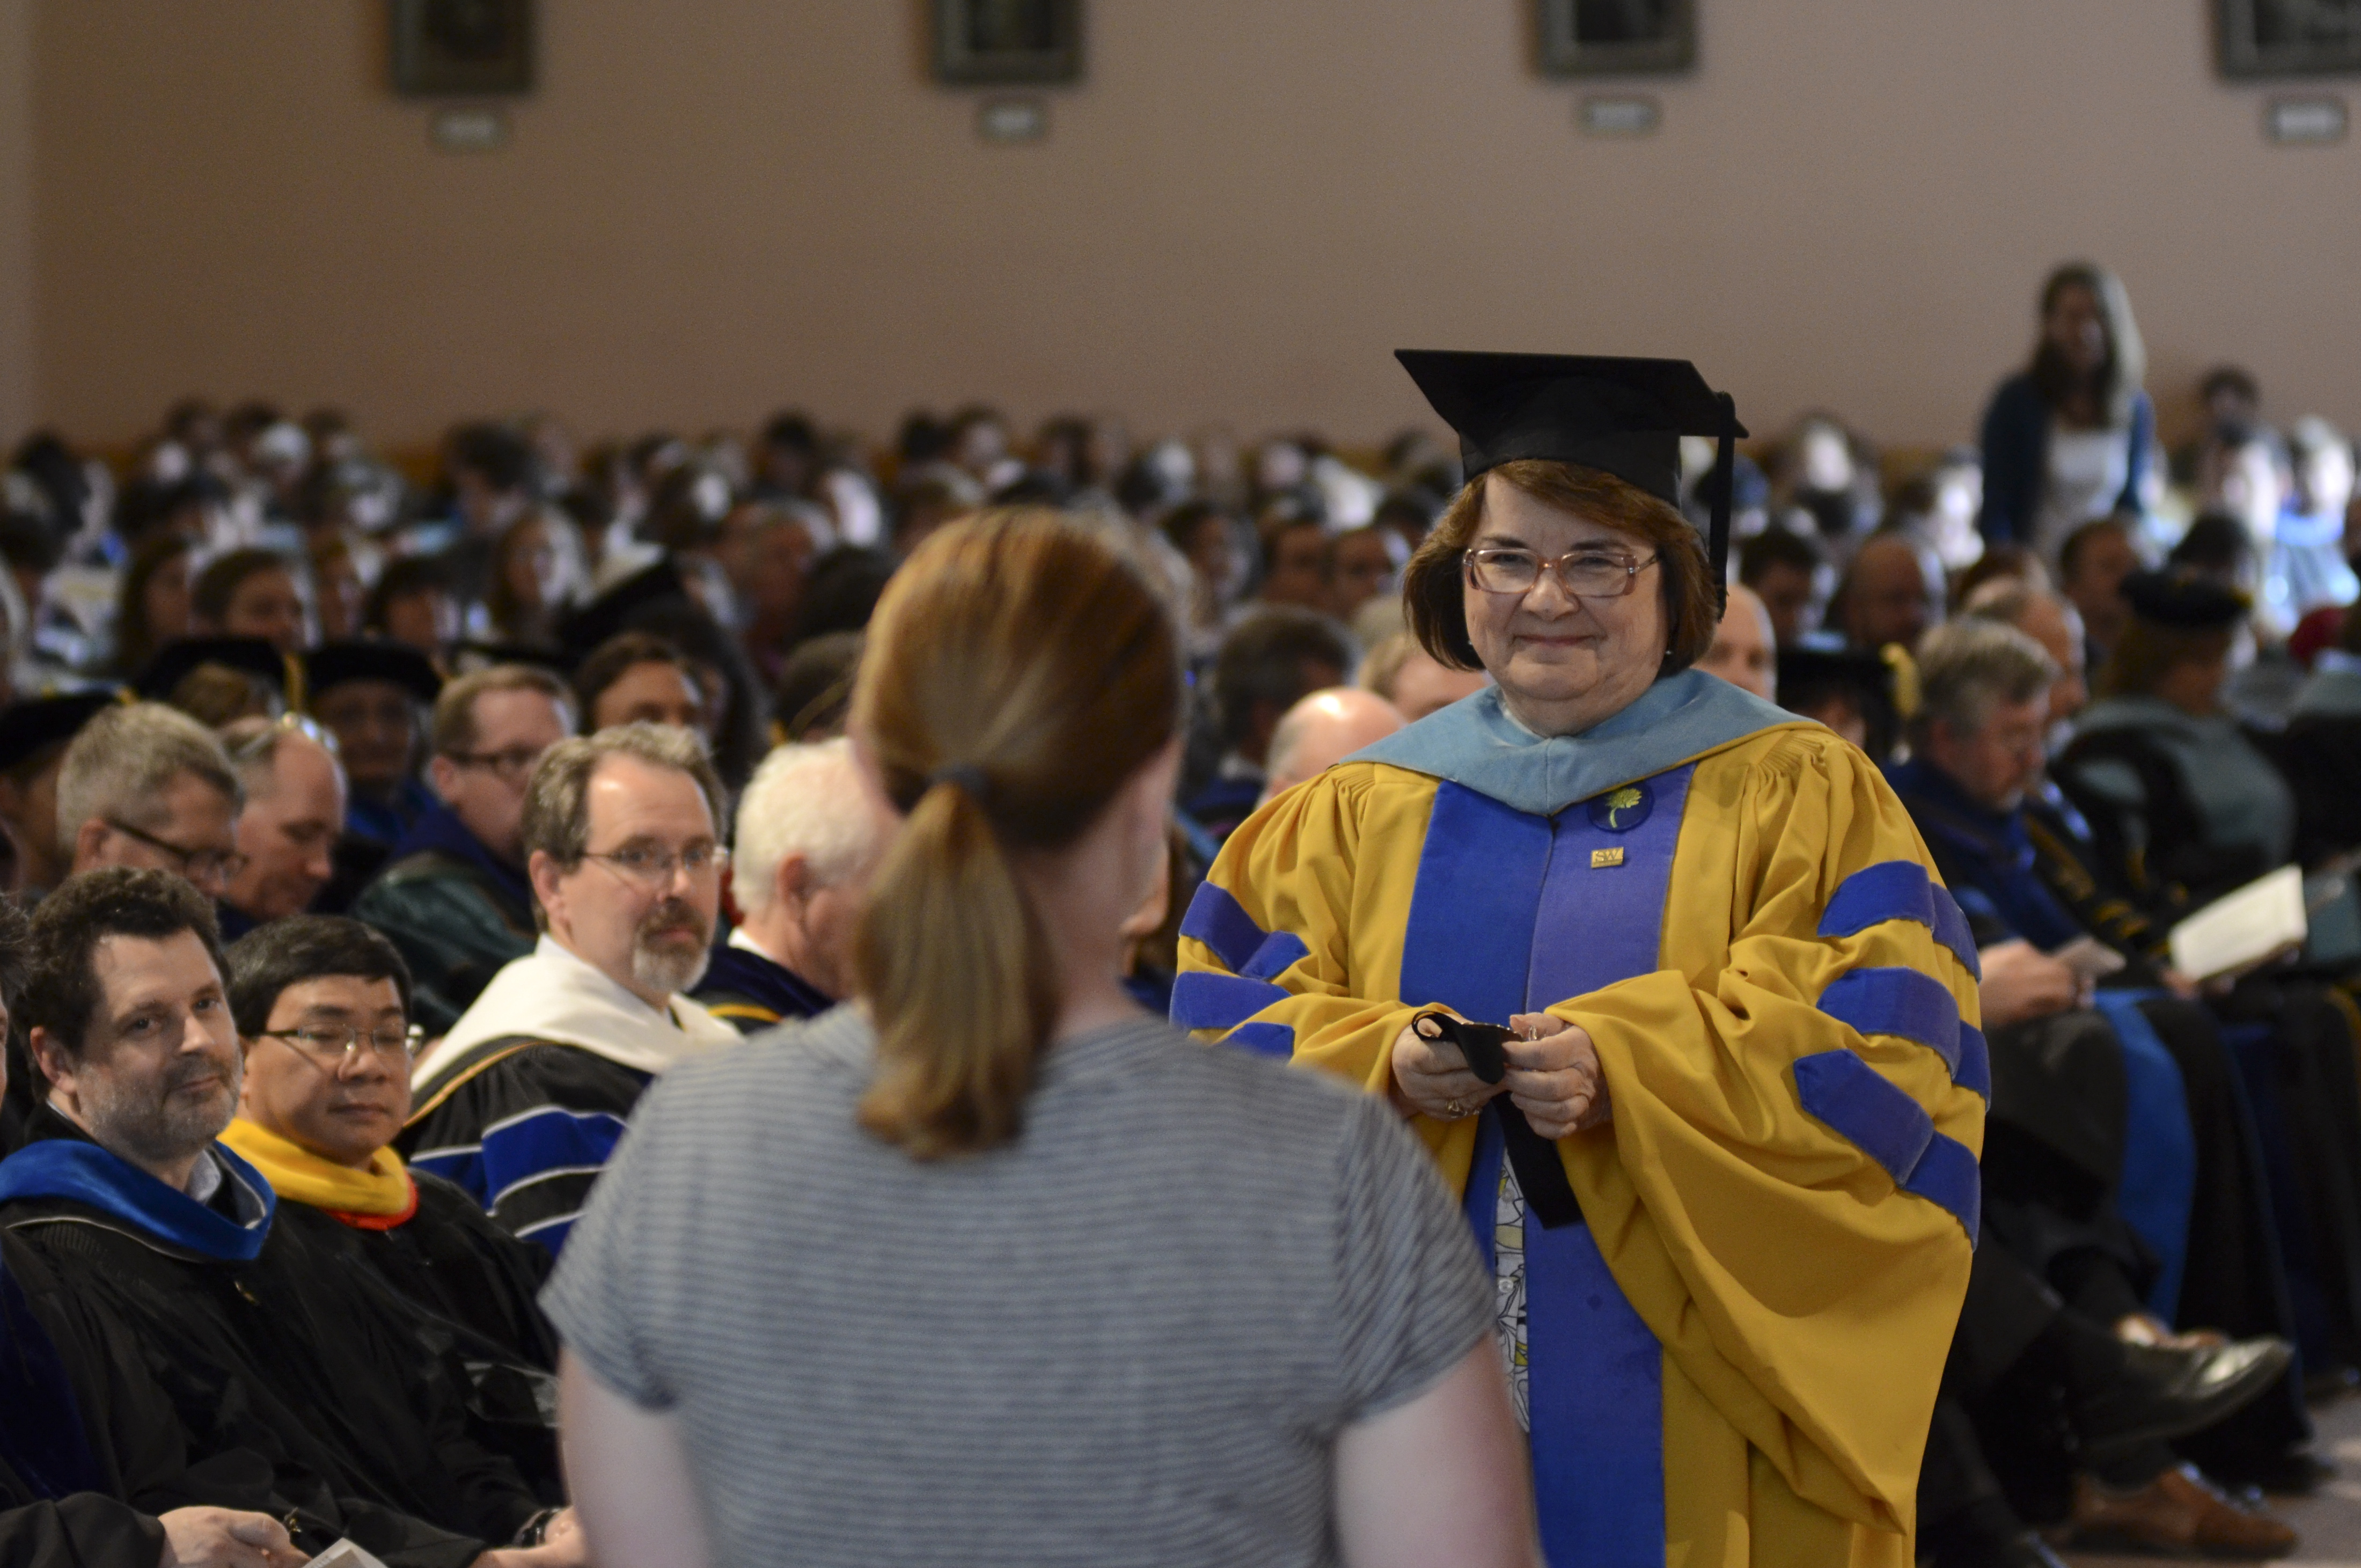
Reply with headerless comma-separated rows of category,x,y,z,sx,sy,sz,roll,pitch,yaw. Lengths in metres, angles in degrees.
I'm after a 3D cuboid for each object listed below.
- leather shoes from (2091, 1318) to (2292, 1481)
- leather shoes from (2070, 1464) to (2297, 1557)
leather shoes,2.659,1.595,8.149,0.652,0.286,0.247,-13,12,10
leather shoes,2.545,1.905,8.283,0.628,0.251,0.232,-2,-4,3
